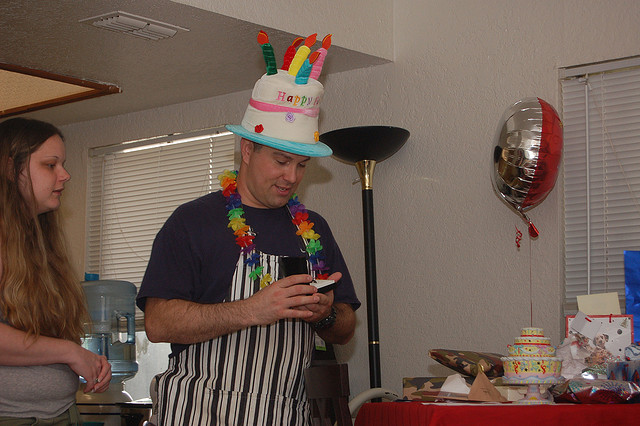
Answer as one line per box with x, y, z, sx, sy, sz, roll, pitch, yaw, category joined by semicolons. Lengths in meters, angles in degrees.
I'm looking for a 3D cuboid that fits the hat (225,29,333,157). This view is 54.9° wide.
-0.137;-0.548;2.682;0.504;0.496;0.472;4;20;-19;hat

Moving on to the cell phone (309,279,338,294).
0.008;0.288;2.474;0.074;0.027;0.075;2;-1;-19;cell phone

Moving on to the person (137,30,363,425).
-0.290;0.051;2.643;0.911;1.653;0.498;1;-9;-4;person

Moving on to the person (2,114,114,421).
-1.155;0.231;2.601;0.451;1.264;0.373;9;-13;-43;person

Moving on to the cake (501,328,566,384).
0.828;0.565;2.483;0.238;0.160;0.229;4;-10;-23;cake

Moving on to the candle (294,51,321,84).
-0.057;-0.606;2.592;0.077;0.130;0.081;6;-11;-31;candle

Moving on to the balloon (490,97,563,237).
1.156;-0.334;3.457;0.383;0.612;0.284;-3;-10;15;balloon
